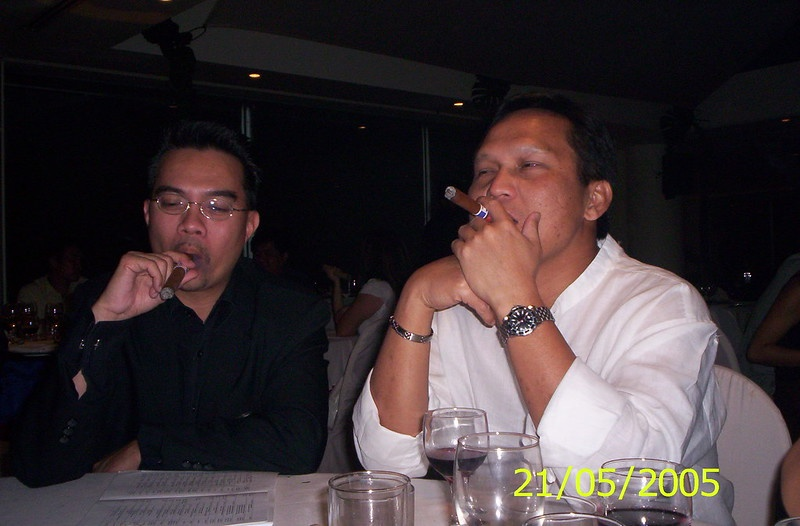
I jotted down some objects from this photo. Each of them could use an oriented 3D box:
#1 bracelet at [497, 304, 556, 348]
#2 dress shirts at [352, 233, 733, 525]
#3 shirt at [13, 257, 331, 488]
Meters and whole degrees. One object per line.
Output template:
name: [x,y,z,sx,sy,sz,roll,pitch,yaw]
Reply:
bracelet: [0.451,0.185,2.021,0.125,0.163,0.196,7,1,13]
dress shirts: [0.523,0.373,2.482,1.245,1.259,1.173,-6,-4,-32]
shirt: [-0.880,0.395,2.373,1.179,0.905,0.494,4,-8,-7]
